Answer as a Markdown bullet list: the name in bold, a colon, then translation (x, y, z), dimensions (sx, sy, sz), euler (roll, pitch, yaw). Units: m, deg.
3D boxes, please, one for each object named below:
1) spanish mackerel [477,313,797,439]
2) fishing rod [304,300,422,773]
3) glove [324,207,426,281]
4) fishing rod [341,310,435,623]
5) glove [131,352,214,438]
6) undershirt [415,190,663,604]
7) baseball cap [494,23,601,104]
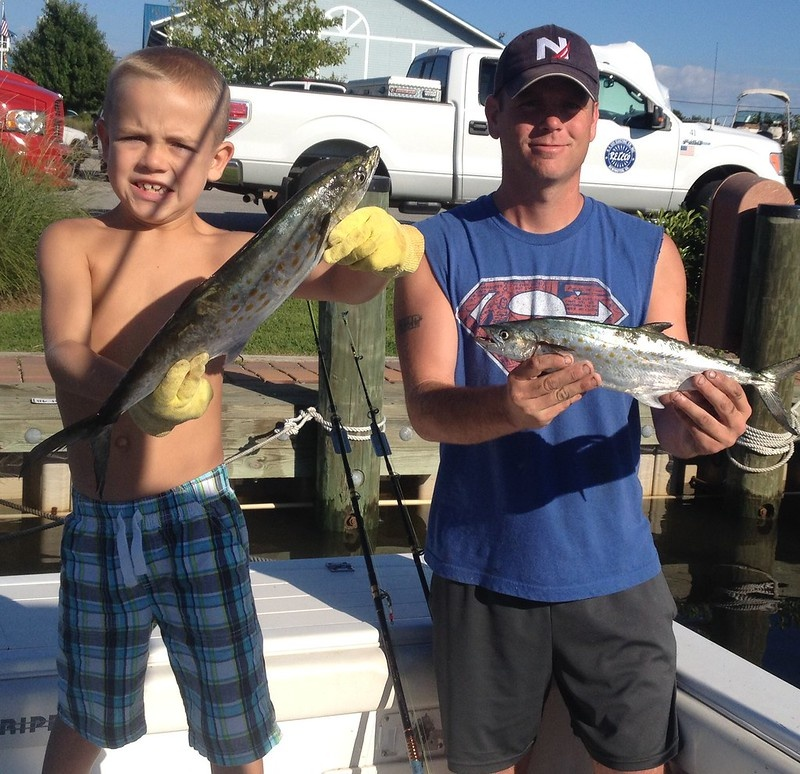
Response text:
- **spanish mackerel**: translation (0.672, -0.026, 2.303), dimensions (0.939, 0.336, 0.229), euler (-6, 15, -20)
- **fishing rod**: translation (-0.161, 0.528, 3.584), dimensions (0.041, 0.080, 2.105), euler (-10, 54, -7)
- **glove**: translation (-0.063, -0.315, 2.032), dimensions (0.111, 0.092, 0.203), euler (-18, -22, 37)
- **fishing rod**: translation (-0.074, 0.328, 3.895), dimensions (0.086, 1.619, 0.197), euler (-22, -21, -3)
- **glove**: translation (-0.495, -0.001, 1.927), dimensions (0.191, 0.142, 0.086), euler (-36, 44, -1)
- **undershirt**: translation (0.373, 0.017, 2.458), dimensions (0.797, 1.039, 0.625), euler (7, 17, 13)
- **baseball cap**: translation (0.404, -0.889, 2.448), dimensions (0.290, 0.162, 0.349), euler (-5, 16, -12)
